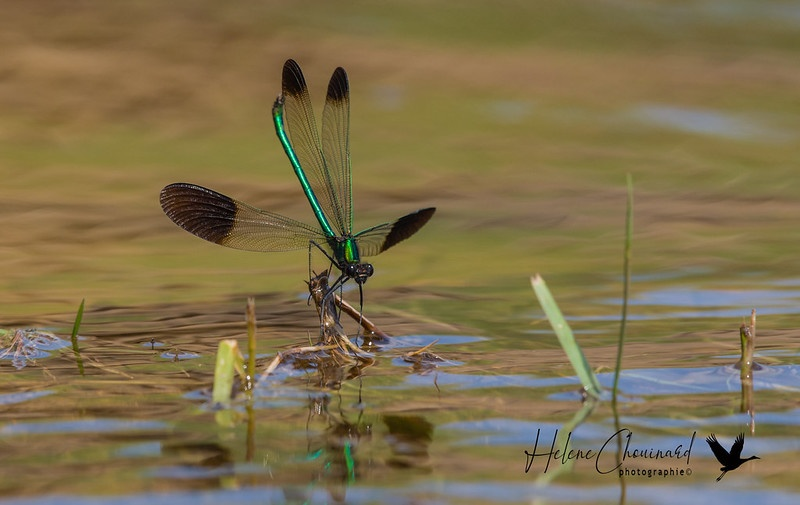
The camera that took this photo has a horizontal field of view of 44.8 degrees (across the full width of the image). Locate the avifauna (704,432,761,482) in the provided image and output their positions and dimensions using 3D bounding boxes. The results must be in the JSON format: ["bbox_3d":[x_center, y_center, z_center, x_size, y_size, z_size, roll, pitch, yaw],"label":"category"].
[{"bbox_3d":[1.397,0.860,4.093,0.206,0.154,0.187,-1,4,9],"label":"avifauna"}]
